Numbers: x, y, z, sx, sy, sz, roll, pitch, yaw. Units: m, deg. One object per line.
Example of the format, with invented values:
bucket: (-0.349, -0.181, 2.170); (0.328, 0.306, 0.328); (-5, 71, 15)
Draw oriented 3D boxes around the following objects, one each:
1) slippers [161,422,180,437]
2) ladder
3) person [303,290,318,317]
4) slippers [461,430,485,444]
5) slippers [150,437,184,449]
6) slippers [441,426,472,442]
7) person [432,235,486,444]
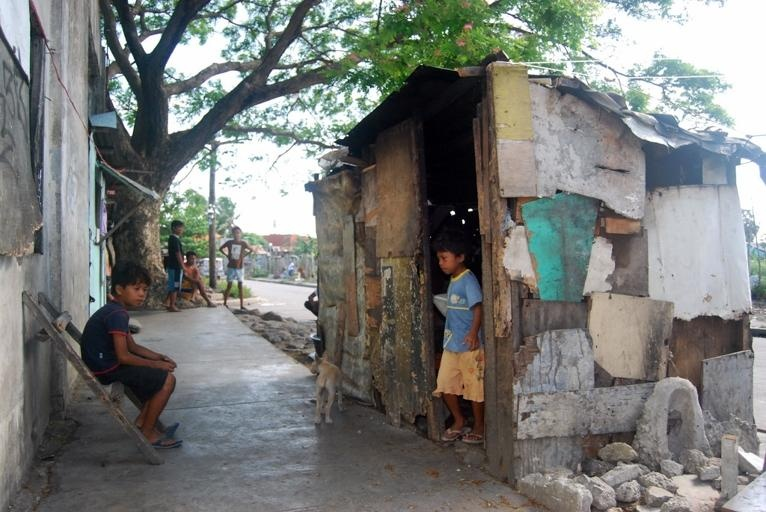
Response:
slippers: (-2.317, 1.888, 7.875); (0.092, 0.178, 0.105); (33, -18, -9)
ladder: (-3.137, 1.156, 7.473); (1.773, 1.781, 0.992); (12, 17, 43)
person: (-1.150, 0.800, 12.181); (0.225, 0.380, 0.766); (11, -12, -4)
slippers: (0.967, 1.964, 7.887); (0.176, 0.114, 0.255); (-9, 15, -39)
slippers: (-2.314, 1.978, 7.696); (0.293, 0.082, 0.117); (1, 1, -2)
slippers: (0.817, 1.947, 7.970); (0.274, 0.081, 0.150); (3, -9, -32)
person: (0.832, 0.909, 7.911); (0.531, 2.195, 0.906); (-2, 13, -12)
